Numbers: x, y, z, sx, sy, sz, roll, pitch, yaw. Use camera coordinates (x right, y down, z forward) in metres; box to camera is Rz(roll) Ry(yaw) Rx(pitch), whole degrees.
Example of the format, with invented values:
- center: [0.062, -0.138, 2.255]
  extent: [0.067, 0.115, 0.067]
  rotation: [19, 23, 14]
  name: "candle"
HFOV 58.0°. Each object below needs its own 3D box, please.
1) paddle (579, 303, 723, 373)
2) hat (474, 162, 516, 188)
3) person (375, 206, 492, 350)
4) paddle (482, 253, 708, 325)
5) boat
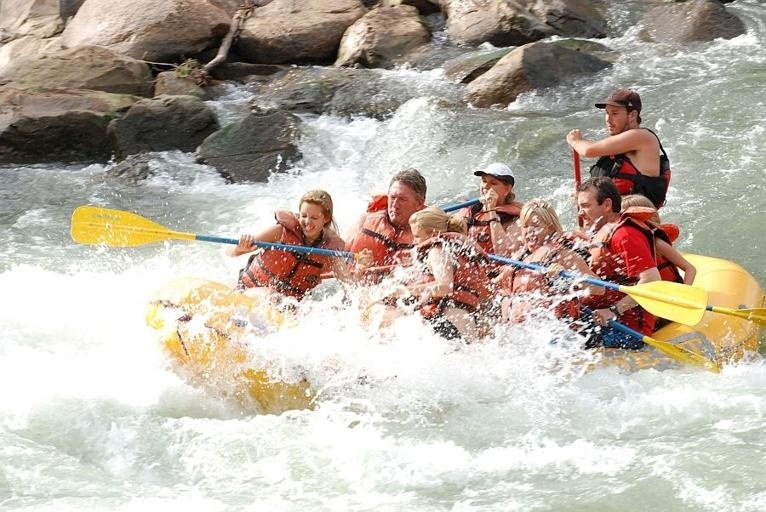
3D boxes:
- center: [2.136, 0.676, 5.595]
  extent: [1.571, 0.138, 0.182]
  rotation: [16, 23, 13]
  name: "paddle"
- center: [1.014, -0.744, 6.247]
  extent: [0.313, 0.173, 0.294]
  rotation: [0, 19, 6]
  name: "hat"
- center: [0.416, 0.148, 5.585]
  extent: [0.859, 1.076, 0.532]
  rotation: [2, 26, 12]
  name: "person"
- center: [1.729, 0.220, 5.961]
  extent: [2.105, 0.283, 0.096]
  rotation: [5, -24, 46]
  name: "paddle"
- center: [0.582, 0.643, 5.823]
  extent: [4.529, 0.528, 1.614]
  rotation: [-1, 15, -8]
  name: "boat"
